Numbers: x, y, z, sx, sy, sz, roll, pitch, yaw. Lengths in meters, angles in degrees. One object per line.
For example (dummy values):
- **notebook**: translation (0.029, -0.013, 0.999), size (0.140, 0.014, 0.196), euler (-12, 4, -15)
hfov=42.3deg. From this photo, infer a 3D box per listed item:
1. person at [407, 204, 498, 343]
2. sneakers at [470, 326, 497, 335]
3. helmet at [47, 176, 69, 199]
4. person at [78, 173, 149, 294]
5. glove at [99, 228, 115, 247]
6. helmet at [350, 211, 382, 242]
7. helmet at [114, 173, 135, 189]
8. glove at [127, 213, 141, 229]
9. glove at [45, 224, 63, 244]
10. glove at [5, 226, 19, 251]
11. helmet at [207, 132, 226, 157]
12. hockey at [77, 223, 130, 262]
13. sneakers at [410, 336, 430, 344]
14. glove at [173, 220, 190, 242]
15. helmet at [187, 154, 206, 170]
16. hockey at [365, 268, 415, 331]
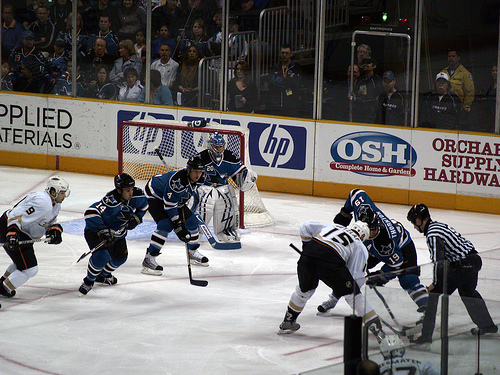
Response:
- **person**: translation (1.636, 0.708, 5.225), size (0.562, 0.405, 0.832), euler (-24, 31, 25)
- **sneakers**: translation (1.714, 1.041, 4.709), size (0.263, 0.063, 0.041), euler (-1, 4, -33)
- **helmet**: translation (-1.690, 0.006, 5.735), size (0.238, 0.205, 0.176), euler (3, 14, -9)
- **person**: translation (-1.275, 0.425, 5.978), size (0.559, 1.109, 0.469), euler (2, 4, 9)
- **glove**: translation (-1.295, 0.455, 5.806), size (0.142, 0.131, 0.050), euler (-4, -1, -31)
- **helmet**: translation (0.940, 0.316, 5.134), size (0.257, 0.187, 0.247), euler (5, 9, 42)
- **helmet**: translation (-1.141, -0.057, 5.821), size (0.162, 0.131, 0.209), euler (0, 3, -14)
- **glove**: translation (-1.119, 0.322, 6.087), size (0.131, 0.129, 0.052), euler (44, -21, -28)
- **glove**: translation (-1.758, 0.423, 5.797), size (0.140, 0.175, 0.067), euler (15, -6, 9)
- **glove**: translation (-2.028, 0.422, 5.441), size (0.121, 0.182, 0.074), euler (-1, -13, -17)
- **helmet**: translation (-0.354, -0.495, 7.350), size (0.208, 0.218, 0.246), euler (2, 42, -23)
- **hockey**: translation (-1.372, 0.522, 6.042), size (0.911, 0.151, 0.073), euler (-22, 36, 24)
- **sneakers**: translation (1.169, 1.041, 4.405), size (0.144, 0.056, 0.046), euler (-9, 5, 3)
- **glove**: translation (-0.697, 0.448, 6.600), size (0.132, 0.238, 0.087), euler (-43, -26, 15)
- **helmet**: translation (-0.553, -0.250, 6.476), size (0.157, 0.134, 0.251), euler (1, 3, -4)
- **hockey**: translation (0.932, 0.782, 4.413), size (0.113, 0.392, 0.392), euler (-20, 7, -9)
